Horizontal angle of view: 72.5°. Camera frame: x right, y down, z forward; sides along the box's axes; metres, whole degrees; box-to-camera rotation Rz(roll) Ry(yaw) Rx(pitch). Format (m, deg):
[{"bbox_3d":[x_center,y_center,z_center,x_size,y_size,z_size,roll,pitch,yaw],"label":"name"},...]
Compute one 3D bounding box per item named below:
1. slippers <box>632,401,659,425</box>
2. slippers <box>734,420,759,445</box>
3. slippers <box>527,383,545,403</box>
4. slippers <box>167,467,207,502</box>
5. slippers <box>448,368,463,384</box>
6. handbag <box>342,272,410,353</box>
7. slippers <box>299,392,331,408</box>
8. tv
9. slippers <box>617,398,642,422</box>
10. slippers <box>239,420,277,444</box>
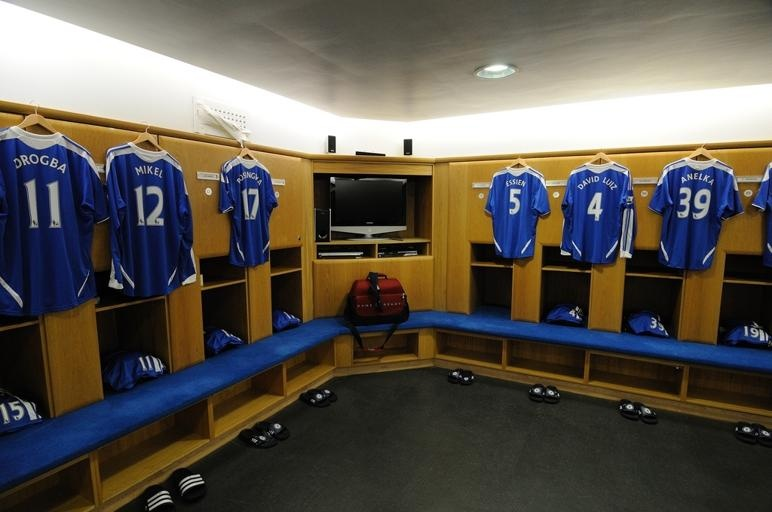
[{"bbox_3d":[2.444,1.497,4.925,0.104,0.066,0.261,-2,5,5],"label":"slippers"},{"bbox_3d":[3.224,1.582,4.687,0.136,0.049,0.175,3,17,35],"label":"slippers"},{"bbox_3d":[1.510,1.392,5.271,0.140,0.089,0.239,-1,1,17],"label":"slippers"},{"bbox_3d":[-1.586,1.834,4.185,0.324,0.164,0.256,-2,10,-7],"label":"slippers"},{"bbox_3d":[0.748,1.300,5.600,0.101,0.058,0.168,-5,7,14],"label":"slippers"},{"bbox_3d":[-0.065,0.605,5.936,0.744,0.722,0.523,-2,-1,-1],"label":"handbag"},{"bbox_3d":[-0.699,1.414,5.165,0.202,0.055,0.147,4,8,31],"label":"slippers"},{"bbox_3d":[-0.210,-0.556,6.292,1.063,0.716,0.231,-3,8,-30],"label":"tv"},{"bbox_3d":[2.313,1.475,4.979,0.099,0.077,0.249,0,13,13],"label":"slippers"},{"bbox_3d":[-1.120,1.610,4.697,0.352,0.113,0.259,1,10,10],"label":"slippers"}]
